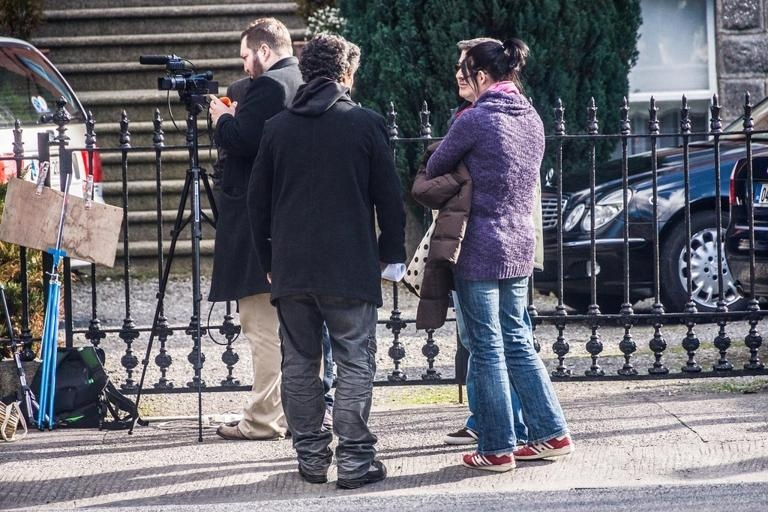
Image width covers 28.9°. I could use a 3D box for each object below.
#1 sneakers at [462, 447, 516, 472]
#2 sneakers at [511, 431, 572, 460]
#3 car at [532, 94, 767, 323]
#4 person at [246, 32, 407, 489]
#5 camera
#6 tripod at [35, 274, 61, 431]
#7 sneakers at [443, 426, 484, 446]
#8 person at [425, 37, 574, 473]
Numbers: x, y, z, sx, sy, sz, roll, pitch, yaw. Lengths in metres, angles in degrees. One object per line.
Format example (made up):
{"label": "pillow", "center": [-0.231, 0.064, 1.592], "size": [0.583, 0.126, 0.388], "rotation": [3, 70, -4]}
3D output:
{"label": "sneakers", "center": [0.895, 1.723, 12.522], "size": [0.452, 0.218, 0.169], "rotation": [4, 2, 11]}
{"label": "sneakers", "center": [1.370, 1.616, 12.668], "size": [0.572, 0.278, 0.201], "rotation": [-1, -2, 1]}
{"label": "car", "center": [2.703, -0.339, 15.468], "size": [3.288, 1.477, 1.446], "rotation": [0, -3, -5]}
{"label": "person", "center": [-0.453, 0.042, 12.384], "size": [1.272, 2.574, 0.413], "rotation": [-3, -1, -5]}
{"label": "camera", "center": [-1.800, -1.485, 13.088], "size": [0.626, 0.552, 0.363], "rotation": [-4, 8, -30]}
{"label": "tripod", "center": [-3.004, 0.866, 13.327], "size": [0.229, 1.348, 0.142], "rotation": [-3, -1, -9]}
{"label": "sneakers", "center": [0.688, 1.572, 12.860], "size": [0.332, 0.148, 0.125], "rotation": [0, -3, 8]}
{"label": "person", "center": [0.970, -0.005, 12.465], "size": [0.961, 2.704, 0.433], "rotation": [-3, -1, -5]}
